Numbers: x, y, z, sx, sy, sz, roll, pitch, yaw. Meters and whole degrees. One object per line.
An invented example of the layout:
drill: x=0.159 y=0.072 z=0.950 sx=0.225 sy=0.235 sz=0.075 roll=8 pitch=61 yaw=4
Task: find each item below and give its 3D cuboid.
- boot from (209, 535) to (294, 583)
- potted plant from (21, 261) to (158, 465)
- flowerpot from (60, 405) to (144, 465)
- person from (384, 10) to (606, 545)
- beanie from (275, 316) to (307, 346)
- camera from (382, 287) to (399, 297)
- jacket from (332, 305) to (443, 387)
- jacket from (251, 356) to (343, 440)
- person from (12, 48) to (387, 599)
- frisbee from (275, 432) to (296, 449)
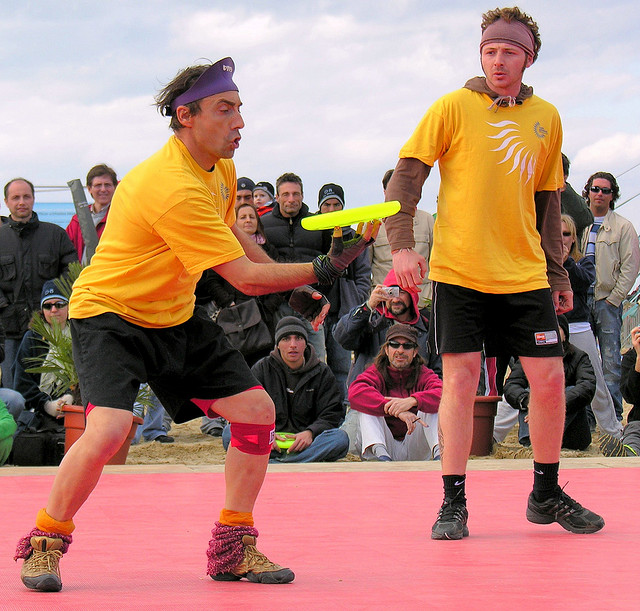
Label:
boot: x=-0.197 y=0.804 z=2.314 sx=0.343 sy=0.180 sz=0.115 roll=0 pitch=-6 yaw=6
potted plant: x=-1.658 y=0.584 z=5.375 sx=0.775 sy=1.156 sz=0.834 roll=-2 pitch=-5 yaw=33
flowerpot: x=-1.520 y=0.858 z=4.975 sx=0.544 sy=0.338 sz=0.499 roll=2 pitch=-13 yaw=-2
person: x=0.715 y=-0.145 z=3.006 sx=0.891 sy=2.162 sz=0.310 roll=1 pitch=-4 yaw=-13
beanie: x=-0.232 y=0.213 z=6.019 sx=0.257 sy=0.248 sz=0.284 roll=1 pitch=-4 yaw=-5
camera: x=0.547 y=-0.101 z=5.397 sx=0.129 sy=0.073 sz=0.073 roll=0 pitch=-3 yaw=-4
jacket: x=0.574 y=0.319 z=6.431 sx=0.821 sy=0.725 sz=0.760 roll=-7 pitch=9 yaw=27
jacket: x=-0.098 y=0.729 z=6.041 sx=0.633 sy=0.664 sz=0.734 roll=7 pitch=12 yaw=41
person: x=-0.459 y=0.006 z=2.343 sx=0.915 sy=1.753 sz=0.562 roll=2 pitch=-5 yaw=-20
frisbee: x=-0.275 y=1.072 z=5.756 sx=0.151 sy=0.111 sz=0.254 roll=0 pitch=-4 yaw=-2
